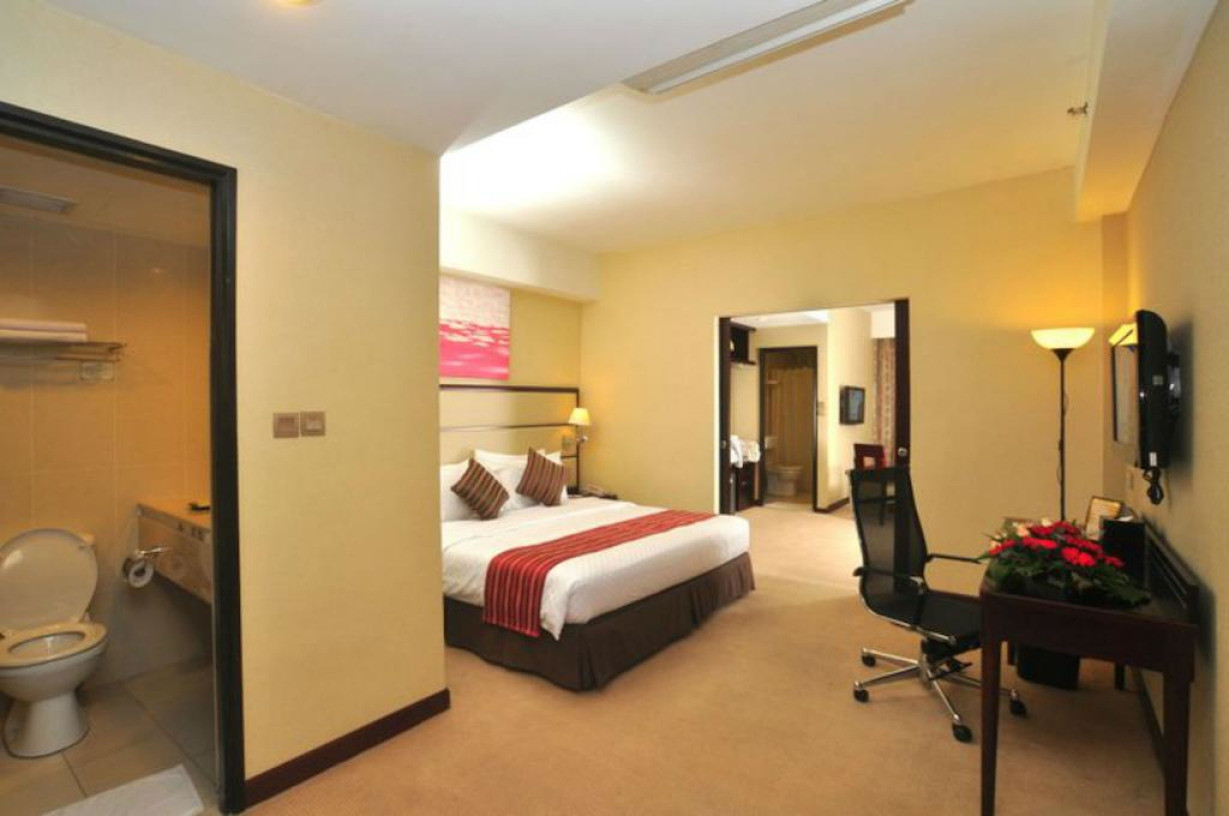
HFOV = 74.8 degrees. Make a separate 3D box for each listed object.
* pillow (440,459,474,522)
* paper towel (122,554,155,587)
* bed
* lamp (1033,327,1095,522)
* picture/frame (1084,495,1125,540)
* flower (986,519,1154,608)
[{"bbox_3d":[-1.320,0.670,6.617,0.131,0.398,0.440,-21,-19,29],"label":"pillow"},{"bbox_3d":[-3.017,1.037,5.101,0.180,0.184,0.308,-1,0,-32],"label":"paper towel"},{"bbox_3d":[-0.546,0.892,6.315,2.239,1.741,2.385,-2,-1,33],"label":"bed"},{"bbox_3d":[3.304,0.096,5.912,0.403,1.439,0.410,-1,1,28],"label":"lamp"},{"bbox_3d":[3.005,0.663,4.924,0.211,0.151,0.111,-2,1,-44],"label":"picture/frame"},{"bbox_3d":[2.262,0.802,4.100,0.471,0.195,0.473,0,2,14],"label":"flower"}]
